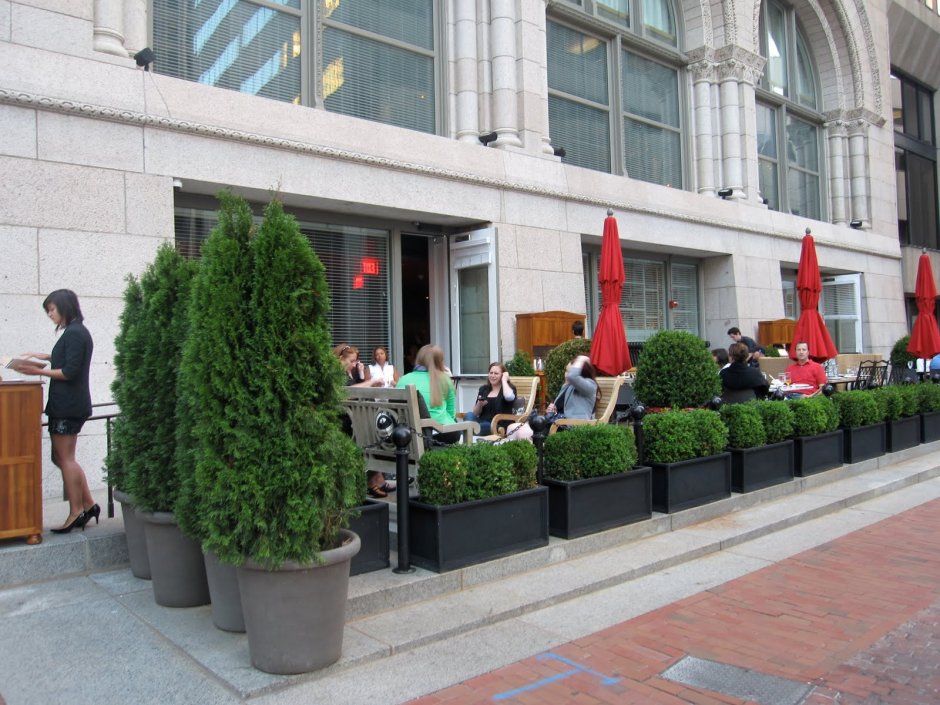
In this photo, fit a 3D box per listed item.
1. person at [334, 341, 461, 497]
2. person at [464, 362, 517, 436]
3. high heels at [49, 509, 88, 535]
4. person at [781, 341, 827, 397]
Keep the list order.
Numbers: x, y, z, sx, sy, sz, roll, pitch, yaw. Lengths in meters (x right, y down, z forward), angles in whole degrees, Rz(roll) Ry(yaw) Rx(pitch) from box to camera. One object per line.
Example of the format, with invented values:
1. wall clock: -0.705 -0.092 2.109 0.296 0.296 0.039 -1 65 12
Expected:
1. person: -0.803 0.733 8.481 0.675 1.185 1.721 -5 6 -35
2. person: 0.244 0.752 10.391 0.586 1.174 0.680 7 -1 30
3. high heels: -4.032 1.748 8.048 0.418 0.238 0.141 3 -3 -23
4. person: 5.794 0.304 13.719 0.441 0.742 0.728 22 -21 -28
